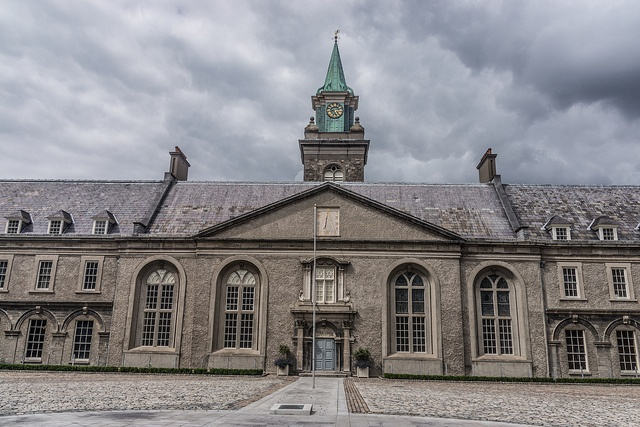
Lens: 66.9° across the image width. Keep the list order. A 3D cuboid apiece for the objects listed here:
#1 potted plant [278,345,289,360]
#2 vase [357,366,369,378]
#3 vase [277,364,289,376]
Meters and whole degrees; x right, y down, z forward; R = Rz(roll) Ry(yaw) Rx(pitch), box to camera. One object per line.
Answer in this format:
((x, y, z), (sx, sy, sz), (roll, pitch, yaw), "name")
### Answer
((-3.264, 12.322, 43.373), (0.922, 1.129, 0.618), (2, -17, -5), "potted plant")
((3.786, 14.030, 42.980), (0.926, 0.894, 1.363), (0, 5, 4), "vase")
((-3.305, 13.916, 43.167), (0.905, 0.867, 0.907), (-6, -13, 33), "vase")
